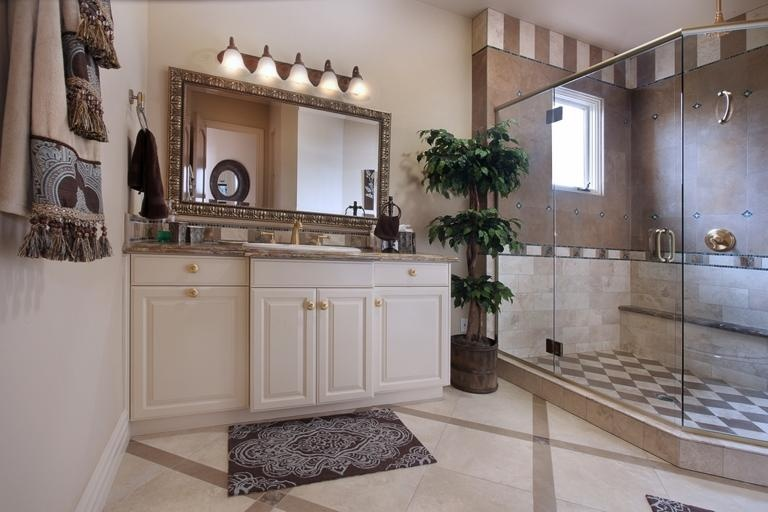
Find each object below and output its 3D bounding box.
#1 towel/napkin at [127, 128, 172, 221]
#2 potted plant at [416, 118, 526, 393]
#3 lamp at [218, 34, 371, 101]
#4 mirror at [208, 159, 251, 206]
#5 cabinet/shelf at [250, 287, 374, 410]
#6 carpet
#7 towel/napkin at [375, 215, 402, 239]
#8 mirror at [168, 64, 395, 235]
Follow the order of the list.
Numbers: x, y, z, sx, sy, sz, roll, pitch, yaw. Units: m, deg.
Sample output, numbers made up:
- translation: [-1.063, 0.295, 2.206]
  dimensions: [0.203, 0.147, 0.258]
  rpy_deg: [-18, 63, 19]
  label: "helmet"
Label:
- translation: [-1.559, -0.541, 3.477]
  dimensions: [0.224, 0.598, 0.202]
  rpy_deg: [-3, 3, -22]
  label: "towel/napkin"
- translation: [0.745, -0.021, 4.372]
  dimensions: [0.911, 2.186, 0.653]
  rpy_deg: [-1, 3, 15]
  label: "potted plant"
- translation: [-0.669, -1.478, 4.149]
  dimensions: [1.179, 0.270, 0.257]
  rpy_deg: [7, 0, -16]
  label: "lamp"
- translation: [-1.171, -0.555, 3.940]
  dimensions: [0.350, 0.445, 0.035]
  rpy_deg: [2, 3, -35]
  label: "mirror"
- translation: [-0.512, 0.619, 3.528]
  dimensions: [0.829, 0.769, 0.328]
  rpy_deg: [1, -4, -22]
  label: "cabinet/shelf"
- translation: [-0.375, 1.235, 3.375]
  dimensions: [1.217, 0.213, 0.589]
  rpy_deg: [-2, 2, -13]
  label: "carpet"
- translation: [0.035, -0.217, 4.139]
  dimensions: [0.170, 0.168, 0.095]
  rpy_deg: [5, -12, 6]
  label: "towel/napkin"
- translation: [-0.858, -0.811, 4.070]
  dimensions: [1.410, 0.832, 0.058]
  rpy_deg: [4, -7, -27]
  label: "mirror"
